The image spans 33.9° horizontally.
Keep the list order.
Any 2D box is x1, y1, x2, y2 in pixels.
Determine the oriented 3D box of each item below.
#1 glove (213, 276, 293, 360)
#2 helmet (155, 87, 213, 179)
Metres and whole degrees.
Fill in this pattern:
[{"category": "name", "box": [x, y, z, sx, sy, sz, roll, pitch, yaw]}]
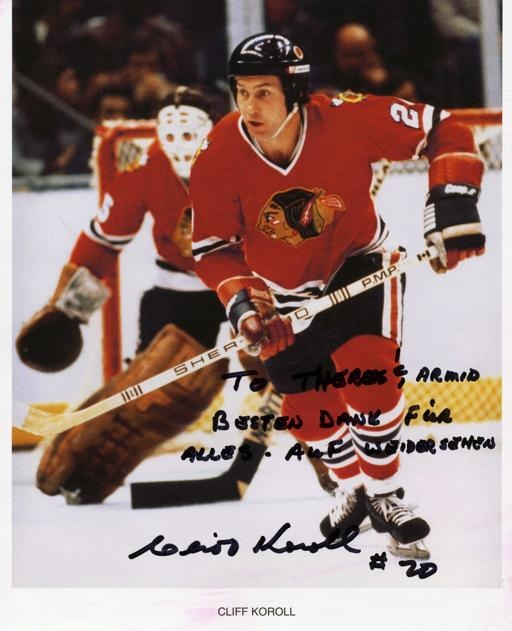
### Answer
[{"category": "glove", "box": [0.005, 0.008, 2.181, 0.165, 0.203, 0.090, -47, 17, -31]}, {"category": "helmet", "box": [-0.182, -0.484, 2.277, 0.190, 0.216, 0.124, -2, -2, 6]}]
